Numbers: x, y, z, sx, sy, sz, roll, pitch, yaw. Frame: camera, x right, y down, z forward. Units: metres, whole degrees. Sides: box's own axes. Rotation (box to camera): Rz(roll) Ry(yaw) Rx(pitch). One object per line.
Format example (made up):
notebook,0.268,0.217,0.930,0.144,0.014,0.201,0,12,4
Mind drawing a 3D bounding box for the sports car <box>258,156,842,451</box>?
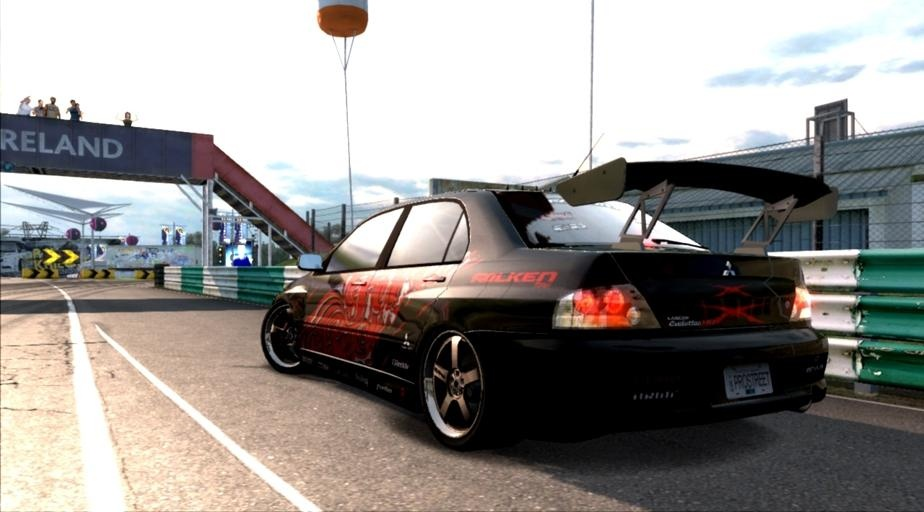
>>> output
sports car,0.775,0.429,6.935,5.690,2.953,2.324,6,13,27
